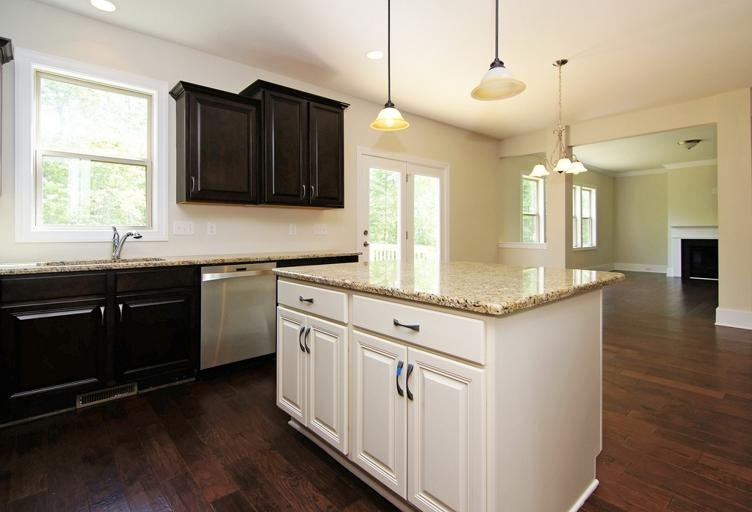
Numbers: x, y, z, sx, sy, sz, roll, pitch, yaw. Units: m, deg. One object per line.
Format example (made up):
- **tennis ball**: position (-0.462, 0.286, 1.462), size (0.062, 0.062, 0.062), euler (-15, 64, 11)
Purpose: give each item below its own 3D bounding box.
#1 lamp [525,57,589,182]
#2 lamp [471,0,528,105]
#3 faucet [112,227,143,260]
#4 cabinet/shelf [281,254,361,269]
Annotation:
- **lamp**: position (2.337, -1.757, 6.301), size (0.939, 1.364, 0.769), euler (-8, 17, -14)
- **lamp**: position (1.024, -1.735, 4.076), size (0.374, 1.016, 1.109), euler (1, 5, 16)
- **faucet**: position (-2.282, -0.126, 4.512), size (0.473, 0.309, 0.098), euler (-3, 2, 38)
- **cabinet/shelf**: position (-0.569, 0.036, 5.121), size (0.225, 0.089, 0.997), euler (4, 6, 43)
